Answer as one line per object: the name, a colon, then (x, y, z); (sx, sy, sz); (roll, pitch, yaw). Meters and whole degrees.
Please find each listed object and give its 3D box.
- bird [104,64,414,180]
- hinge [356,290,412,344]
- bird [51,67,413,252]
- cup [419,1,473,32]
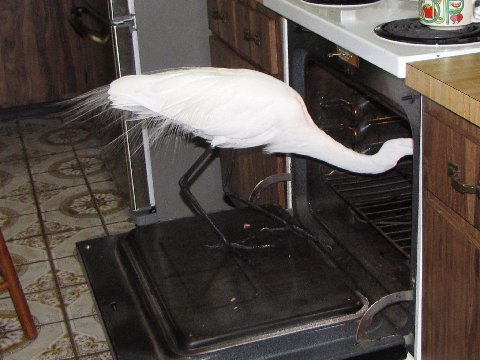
bird: (0.057, -0.140, 1.144); (0.687, 0.164, 0.199); (20, 18, 1)
hinge: (0.270, 0.247, 0.920); (0.096, 0.101, 0.022); (-3, -4, 16)
bird: (-0.070, -0.261, 1.292); (0.810, 0.641, 0.585); (-5, 26, -12)
cup: (0.377, -0.298, 0.902); (0.073, 0.053, 0.056); (9, 18, 24)
